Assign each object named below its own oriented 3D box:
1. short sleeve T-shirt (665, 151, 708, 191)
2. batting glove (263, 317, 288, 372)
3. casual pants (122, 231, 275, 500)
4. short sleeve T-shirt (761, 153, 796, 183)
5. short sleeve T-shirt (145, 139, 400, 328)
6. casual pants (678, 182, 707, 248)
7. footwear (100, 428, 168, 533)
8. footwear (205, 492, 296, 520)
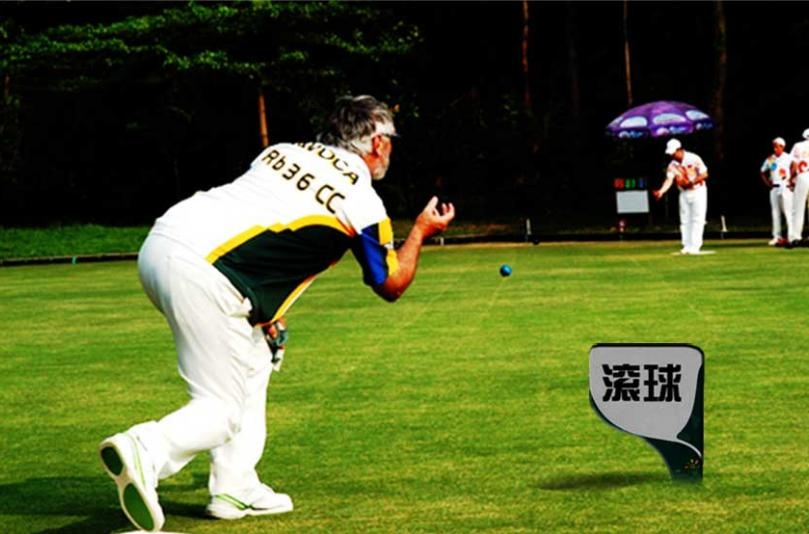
[{"bbox_3d":[5.522,-1.881,18.770,0.798,0.694,0.509,-12,15,34],"label":"short sleeve T-shirt"},{"bbox_3d":[-0.908,0.543,7.006,0.139,0.408,0.172,-12,8,-33],"label":"batting glove"},{"bbox_3d":[-1.387,0.712,6.639,1.026,1.922,0.612,-7,12,-21],"label":"casual pants"},{"bbox_3d":[7.578,-1.990,19.311,0.327,0.717,0.899,-15,12,-36],"label":"short sleeve T-shirt"},{"bbox_3d":[-0.823,-0.305,6.571,1.537,1.225,0.726,-32,-19,-17],"label":"short sleeve T-shirt"},{"bbox_3d":[5.626,-0.971,18.787,0.420,1.308,0.377,5,14,31],"label":"casual pants"},{"bbox_3d":[-1.768,1.404,6.301,0.392,0.663,0.184,4,13,27],"label":"footwear"},{"bbox_3d":[-1.102,1.675,6.921,0.586,0.225,0.219,0,-1,-18],"label":"footwear"}]
